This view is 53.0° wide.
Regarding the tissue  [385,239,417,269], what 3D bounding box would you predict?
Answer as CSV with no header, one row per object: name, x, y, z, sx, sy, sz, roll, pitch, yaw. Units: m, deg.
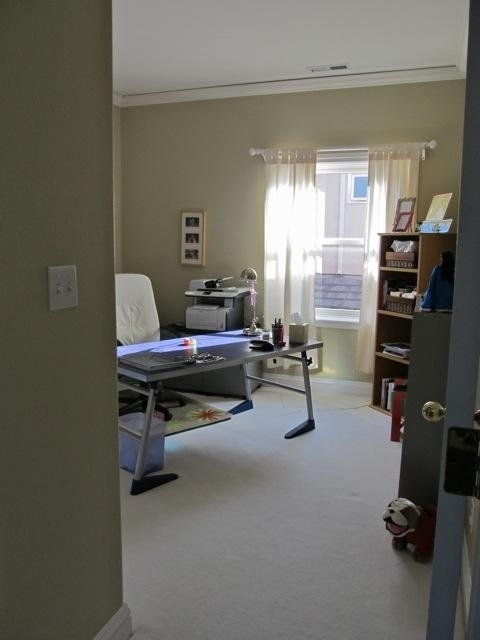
tissue ,1.251,-0.506,3.734,0.200,0.241,0.219,6,11,41

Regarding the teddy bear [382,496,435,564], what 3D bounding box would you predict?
teddy bear,0.758,0.897,2.102,0.243,0.240,0.185,7,-8,-14

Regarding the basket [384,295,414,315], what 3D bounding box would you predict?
basket,1.260,-0.151,3.796,0.152,0.119,0.244,-8,13,-37

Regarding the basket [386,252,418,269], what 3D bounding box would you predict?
basket,1.246,-0.470,3.783,0.069,0.124,0.344,-2,8,-24

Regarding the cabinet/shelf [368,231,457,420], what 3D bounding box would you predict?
cabinet/shelf,1.344,0.031,3.828,0.379,1.437,0.608,-1,7,-15
